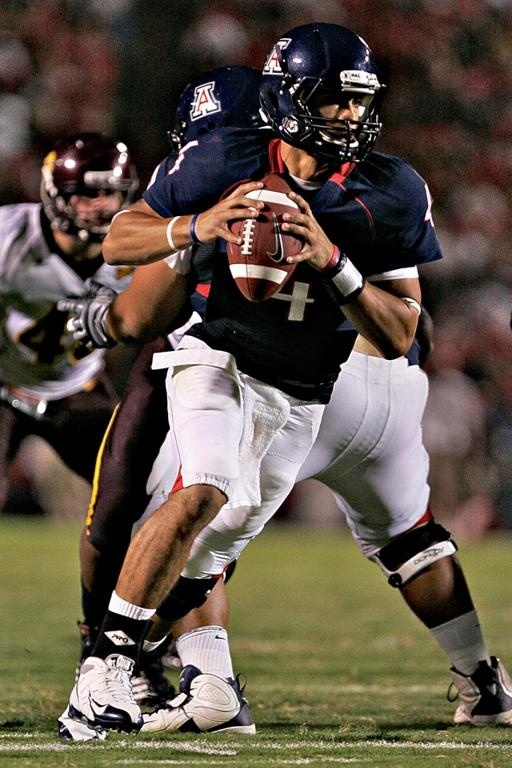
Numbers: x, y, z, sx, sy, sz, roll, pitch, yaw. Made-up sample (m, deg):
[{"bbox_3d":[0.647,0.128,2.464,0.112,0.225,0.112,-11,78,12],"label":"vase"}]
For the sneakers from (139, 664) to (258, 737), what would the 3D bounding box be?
[{"bbox_3d":[-0.140,0.646,1.679,0.275,0.128,0.094,0,-12,12],"label":"sneakers"}]

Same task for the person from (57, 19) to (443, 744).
[{"bbox_3d":[-0.047,0.006,1.615,0.558,1.310,0.957,17,31,20],"label":"person"}]

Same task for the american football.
[{"bbox_3d":[0.016,-0.245,1.450,0.155,0.201,0.139,11,4,10],"label":"american football"}]

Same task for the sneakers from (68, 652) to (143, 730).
[{"bbox_3d":[-0.274,0.556,1.483,0.076,0.092,0.209,19,-14,-20],"label":"sneakers"}]
